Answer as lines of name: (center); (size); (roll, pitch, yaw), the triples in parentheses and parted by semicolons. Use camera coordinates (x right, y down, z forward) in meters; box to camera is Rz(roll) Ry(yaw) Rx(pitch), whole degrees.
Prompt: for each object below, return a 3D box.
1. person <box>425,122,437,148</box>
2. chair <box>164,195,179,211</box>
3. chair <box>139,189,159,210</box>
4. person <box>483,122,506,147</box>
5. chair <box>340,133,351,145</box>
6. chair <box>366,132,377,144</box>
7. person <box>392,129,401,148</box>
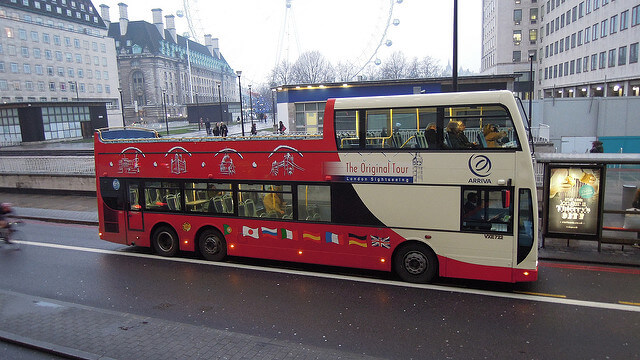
person: (4.780, -1.873, 19.219); (0.572, 0.926, 0.238); (6, 4, 33)
chair: (-7.335, 1.116, 22.230); (0.510, 0.848, 0.461); (-11, 25, 4)
chair: (-8.461, 0.947, 22.743); (0.976, 1.231, 0.968); (0, 3, -24)
person: (7.414, -1.851, 18.894); (0.963, 1.041, 0.811); (-1, 16, 19)
chair: (1.163, -1.777, 19.933); (0.497, 0.339, 0.484); (4, 32, -1)
chair: (2.282, -1.864, 19.739); (0.436, 0.417, 0.235); (3, 23, 6)
person: (3.345, -1.782, 19.540); (0.446, 0.732, 0.195); (4, 5, 18)
